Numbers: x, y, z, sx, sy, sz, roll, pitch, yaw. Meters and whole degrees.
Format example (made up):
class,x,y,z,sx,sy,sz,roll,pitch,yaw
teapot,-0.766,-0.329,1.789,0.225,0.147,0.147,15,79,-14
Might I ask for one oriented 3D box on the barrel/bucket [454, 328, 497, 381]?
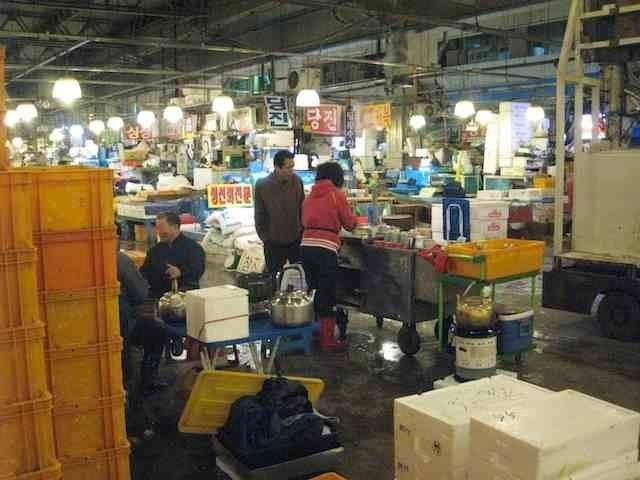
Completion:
class,x,y,z,sx,sy,sz,roll,pitch,yaw
barrel/bucket,1.315,0.935,5.198,0.353,0.382,0.357,-2,3,0

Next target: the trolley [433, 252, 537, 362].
class,x,y,z,sx,sy,sz,roll,pitch,yaw
trolley,1.629,0.481,5.819,1.264,0.982,0.625,-8,13,-42

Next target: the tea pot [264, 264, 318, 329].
class,x,y,z,sx,sy,sz,roll,pitch,yaw
tea pot,-0.171,0.416,4.833,0.308,0.421,0.414,-10,2,33

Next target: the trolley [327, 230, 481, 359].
class,x,y,z,sx,sy,sz,roll,pitch,yaw
trolley,0.753,0.517,6.453,0.756,0.995,1.313,-3,8,-38

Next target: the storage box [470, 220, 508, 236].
class,x,y,z,sx,sy,sz,roll,pitch,yaw
storage box,1.709,-0.114,6.235,0.218,0.079,0.214,-2,6,-23

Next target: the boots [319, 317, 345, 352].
class,x,y,z,sx,sy,sz,roll,pitch,yaw
boots,0.150,0.932,6.190,0.302,0.301,0.149,1,-4,17

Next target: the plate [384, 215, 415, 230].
class,x,y,z,sx,sy,sz,roll,pitch,yaw
plate,0.954,-0.221,7.620,0.278,0.271,0.283,2,5,34

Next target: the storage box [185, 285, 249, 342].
class,x,y,z,sx,sy,sz,roll,pitch,yaw
storage box,-0.740,0.536,4.512,0.435,0.330,0.439,-2,1,-13

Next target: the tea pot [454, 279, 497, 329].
class,x,y,z,sx,sy,sz,roll,pitch,yaw
tea pot,1.300,0.545,5.215,0.324,0.349,0.315,-4,6,0

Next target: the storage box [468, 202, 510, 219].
class,x,y,z,sx,sy,sz,roll,pitch,yaw
storage box,1.717,-0.290,6.265,0.438,0.181,0.135,-5,11,-23
